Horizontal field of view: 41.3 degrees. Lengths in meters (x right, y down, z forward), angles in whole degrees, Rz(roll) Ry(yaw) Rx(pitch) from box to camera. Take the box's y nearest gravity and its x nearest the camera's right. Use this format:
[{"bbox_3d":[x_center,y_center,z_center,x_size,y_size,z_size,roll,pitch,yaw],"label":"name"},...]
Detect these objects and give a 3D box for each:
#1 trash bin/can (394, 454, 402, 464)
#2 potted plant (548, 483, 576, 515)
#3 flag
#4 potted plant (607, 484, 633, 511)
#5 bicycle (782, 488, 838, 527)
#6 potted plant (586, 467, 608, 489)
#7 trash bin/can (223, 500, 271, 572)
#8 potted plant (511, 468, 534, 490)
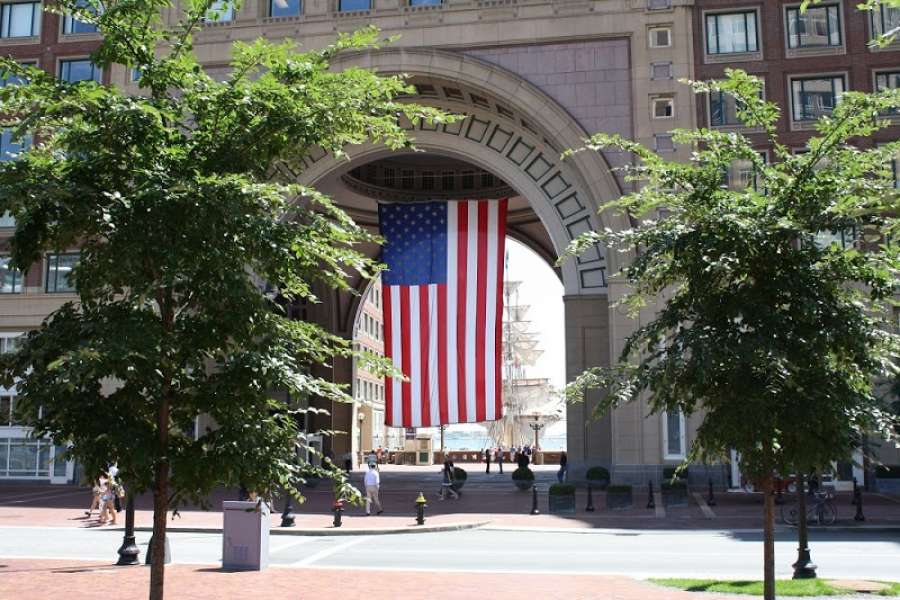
[{"bbox_3d":[-3.904,11.882,89.668,0.470,0.795,1.650,-2,-7,7],"label":"trash bin/can"},{"bbox_3d":[4.009,7.137,43.048,0.985,0.948,0.699,0,-7,-7],"label":"potted plant"},{"bbox_3d":[-0.279,0.451,51.606,5.188,9.895,1.792,-3,-7,13],"label":"flag"},{"bbox_3d":[6.078,7.187,43.431,1.028,0.910,0.778,3,-9,-23],"label":"potted plant"},{"bbox_3d":[11.380,6.768,38.533,2.048,1.166,1.023,-9,-12,41],"label":"bicycle"},{"bbox_3d":[5.994,7.180,47.976,1.040,0.928,0.994,1,-7,3],"label":"potted plant"},{"bbox_3d":[-5.320,6.132,31.100,1.185,1.806,1.031,0,-7,-12],"label":"trash bin/can"},{"bbox_3d":[3.186,7.887,52.683,0.924,0.799,0.887,-2,-5,11],"label":"potted plant"}]
